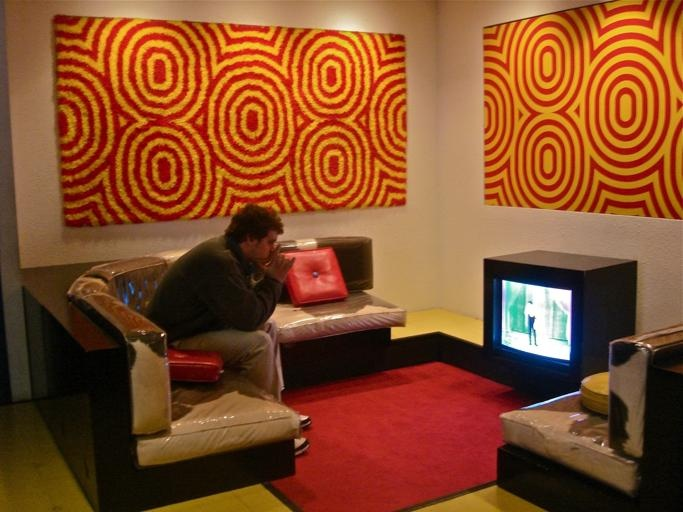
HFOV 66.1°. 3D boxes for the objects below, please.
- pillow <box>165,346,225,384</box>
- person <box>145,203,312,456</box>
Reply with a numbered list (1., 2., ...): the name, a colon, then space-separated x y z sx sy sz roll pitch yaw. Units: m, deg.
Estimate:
1. pillow: -0.703 0.502 2.489 0.247 0.072 0.172 1 10 -17
2. person: -0.605 0.363 2.918 0.926 1.226 0.523 0 13 -4
